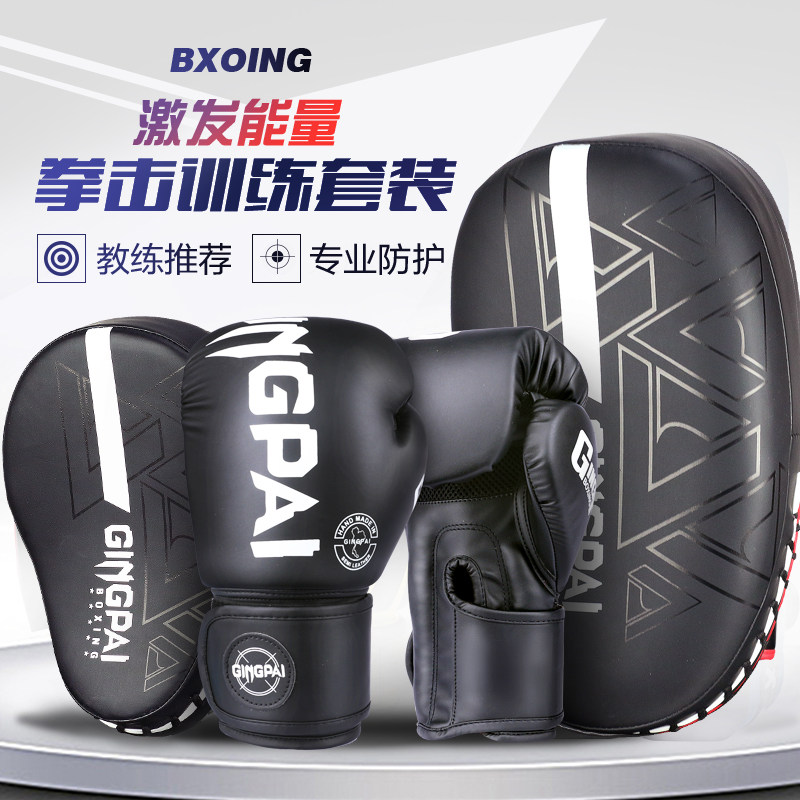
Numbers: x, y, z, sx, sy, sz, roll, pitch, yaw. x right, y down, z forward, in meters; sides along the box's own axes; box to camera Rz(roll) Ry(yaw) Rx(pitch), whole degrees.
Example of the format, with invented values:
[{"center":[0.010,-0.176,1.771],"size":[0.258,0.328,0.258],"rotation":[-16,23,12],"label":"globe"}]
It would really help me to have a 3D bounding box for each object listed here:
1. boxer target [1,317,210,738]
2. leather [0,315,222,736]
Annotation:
[{"center":[-0.494,0.222,1.734],"size":[0.377,0.717,0.158],"rotation":[-4,1,23],"label":"boxer target"},{"center":[-0.494,0.196,1.741],"size":[0.378,0.721,0.159],"rotation":[-4,1,23],"label":"leather"}]
